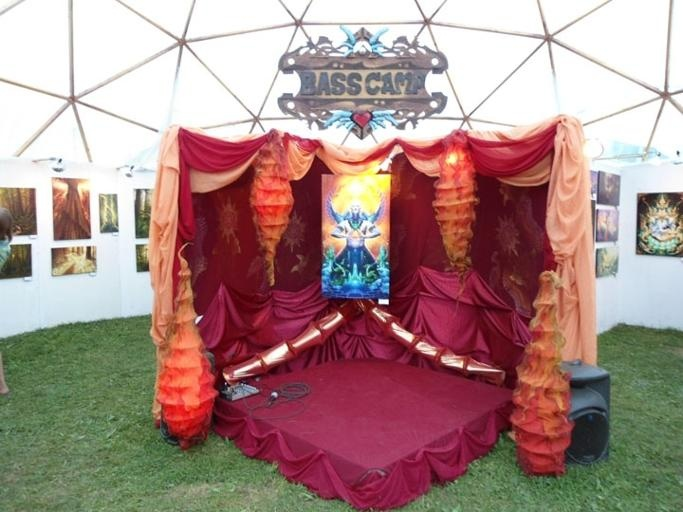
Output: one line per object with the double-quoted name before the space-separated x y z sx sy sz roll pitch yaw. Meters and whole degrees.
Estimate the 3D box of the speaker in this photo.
"speaker" 3.481 2.238 7.476 0.684 1.411 0.289 -2 2 -9

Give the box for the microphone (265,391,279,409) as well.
"microphone" -1.149 2.363 8.702 0.090 0.099 0.307 -2 6 17
